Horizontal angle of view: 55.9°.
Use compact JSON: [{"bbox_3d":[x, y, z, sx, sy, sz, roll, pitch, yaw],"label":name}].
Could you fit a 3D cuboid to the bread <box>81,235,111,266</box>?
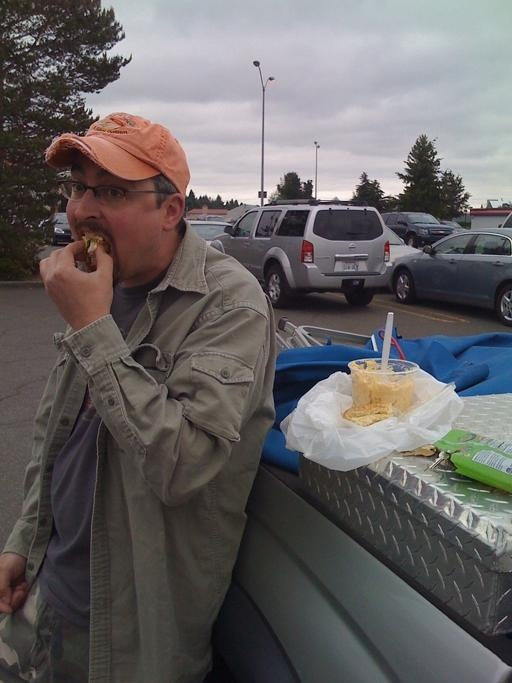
[{"bbox_3d":[-0.408,-0.224,1.239,0.057,0.076,0.040,9,0,24],"label":"bread"}]
